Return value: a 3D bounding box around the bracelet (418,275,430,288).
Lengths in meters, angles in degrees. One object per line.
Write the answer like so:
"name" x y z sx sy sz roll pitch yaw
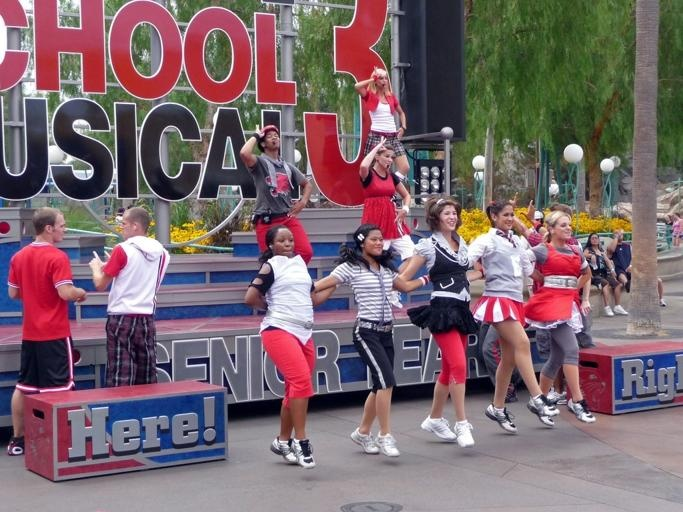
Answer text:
"bracelet" 0.909 0.276 10.704 0.054 0.103 0.127 -21 -19 27

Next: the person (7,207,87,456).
"person" -3.306 0.854 10.539 0.881 2.763 0.462 0 6 2

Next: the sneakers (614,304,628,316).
"sneakers" 5.898 1.134 20.017 0.373 0.258 0.144 5 11 13

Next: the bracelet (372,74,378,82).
"bracelet" 0.449 -2.539 13.491 0.058 0.081 0.026 32 -13 19

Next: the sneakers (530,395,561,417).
"sneakers" 2.359 1.749 11.140 0.171 0.219 0.405 -15 16 -36

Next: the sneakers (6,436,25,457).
"sneakers" -3.645 2.130 10.602 0.104 0.124 0.261 2 4 6

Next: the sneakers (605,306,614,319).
"sneakers" 5.512 1.134 19.686 0.185 0.216 0.241 0 7 6

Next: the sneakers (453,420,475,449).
"sneakers" 1.345 2.000 10.516 0.183 0.347 0.292 0 7 6

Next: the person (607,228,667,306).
"person" 6.212 0.223 20.350 0.890 1.982 0.983 -9 -9 15

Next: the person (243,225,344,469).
"person" -0.599 0.978 10.178 0.735 2.578 0.642 1 6 17

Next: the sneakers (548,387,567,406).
"sneakers" 2.748 1.820 12.215 0.213 0.294 0.640 -2 -11 10

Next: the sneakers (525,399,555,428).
"sneakers" 2.364 1.809 11.223 0.168 0.245 0.506 -24 22 -20

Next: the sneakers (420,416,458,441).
"sneakers" 1.090 2.000 10.923 0.453 0.229 0.204 28 12 4

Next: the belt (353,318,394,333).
"belt" 0.334 0.758 10.351 0.391 0.164 0.130 -1 6 -6

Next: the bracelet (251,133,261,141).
"bracelet" -1.094 -1.524 12.104 0.078 0.091 0.082 7 0 -1

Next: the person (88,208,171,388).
"person" -2.332 0.472 10.484 0.825 1.972 0.403 -2 6 -18

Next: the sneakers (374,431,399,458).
"sneakers" 0.484 2.070 10.418 0.139 0.184 0.376 3 10 -33
